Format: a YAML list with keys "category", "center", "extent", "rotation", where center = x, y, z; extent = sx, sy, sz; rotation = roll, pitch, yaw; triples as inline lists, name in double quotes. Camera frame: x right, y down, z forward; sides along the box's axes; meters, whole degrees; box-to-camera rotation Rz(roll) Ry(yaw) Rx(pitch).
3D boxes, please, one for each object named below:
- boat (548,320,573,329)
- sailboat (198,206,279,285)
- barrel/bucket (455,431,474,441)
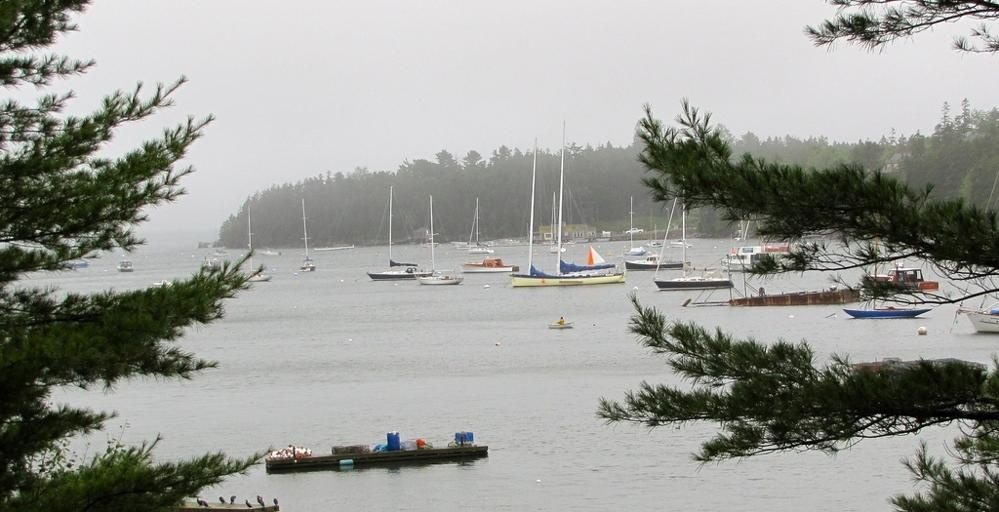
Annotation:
- category: "boat"
  center: [3.460, 3.886, 85.418]
  extent: [1.433, 0.587, 1.717]
  rotation: [-5, -3, 3]
- category: "sailboat"
  center: [-29.062, -1.671, 174.682]
  extent: [14.498, 11.524, 7.853]
  rotation: [0, 0, -21]
- category: "barrel/bucket"
  center: [-1.452, 7.465, 61.451]
  extent: [0.526, 0.304, 0.501]
  rotation: [0, -2, 0]
